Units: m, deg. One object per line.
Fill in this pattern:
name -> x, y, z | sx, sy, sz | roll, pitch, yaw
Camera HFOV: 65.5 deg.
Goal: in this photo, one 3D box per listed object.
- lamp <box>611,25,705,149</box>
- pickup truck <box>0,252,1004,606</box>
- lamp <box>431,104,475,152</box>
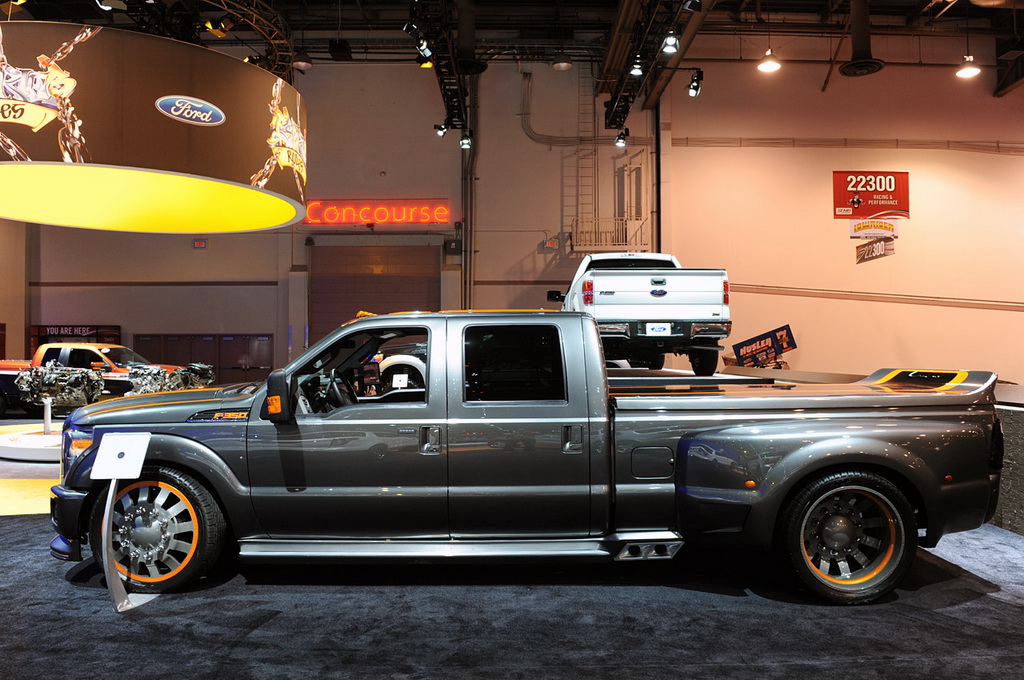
lamp -> 3.510, -6.398, 21.099 | 1.676, 1.964, 4.745 | 0, 1, 0
pickup truck -> 0.148, 0.953, 9.815 | 10.177, 2.510, 3.949 | 1, 0, 0
lamp -> -1.539, -5.819, 21.896 | 1.217, 0.423, 1.471 | -9, -39, -5
